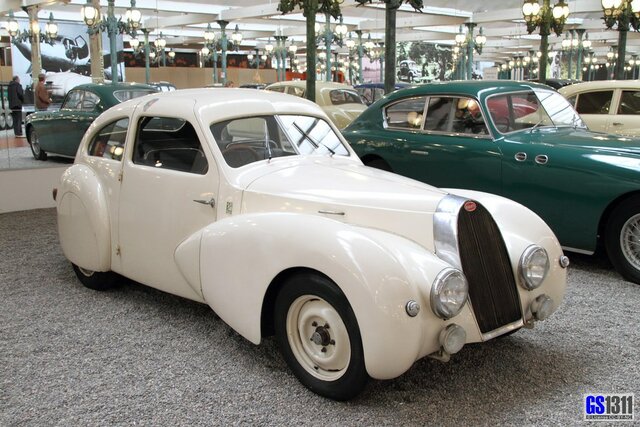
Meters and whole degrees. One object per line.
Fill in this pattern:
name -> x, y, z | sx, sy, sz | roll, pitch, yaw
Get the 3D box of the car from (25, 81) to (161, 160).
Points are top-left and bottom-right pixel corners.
car -> -5.263, -2.045, 8.775 | 2.508, 1.186, 1.497 | 8, 12, 31

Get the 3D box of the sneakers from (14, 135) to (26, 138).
sneakers -> -5.914, -1.547, 8.093 | 0.106, 0.066, 0.192 | 7, 18, 26

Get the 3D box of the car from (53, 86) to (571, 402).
car -> -0.712, 0.011, 3.990 | 4.781, 1.932, 2.207 | 9, 19, 38
